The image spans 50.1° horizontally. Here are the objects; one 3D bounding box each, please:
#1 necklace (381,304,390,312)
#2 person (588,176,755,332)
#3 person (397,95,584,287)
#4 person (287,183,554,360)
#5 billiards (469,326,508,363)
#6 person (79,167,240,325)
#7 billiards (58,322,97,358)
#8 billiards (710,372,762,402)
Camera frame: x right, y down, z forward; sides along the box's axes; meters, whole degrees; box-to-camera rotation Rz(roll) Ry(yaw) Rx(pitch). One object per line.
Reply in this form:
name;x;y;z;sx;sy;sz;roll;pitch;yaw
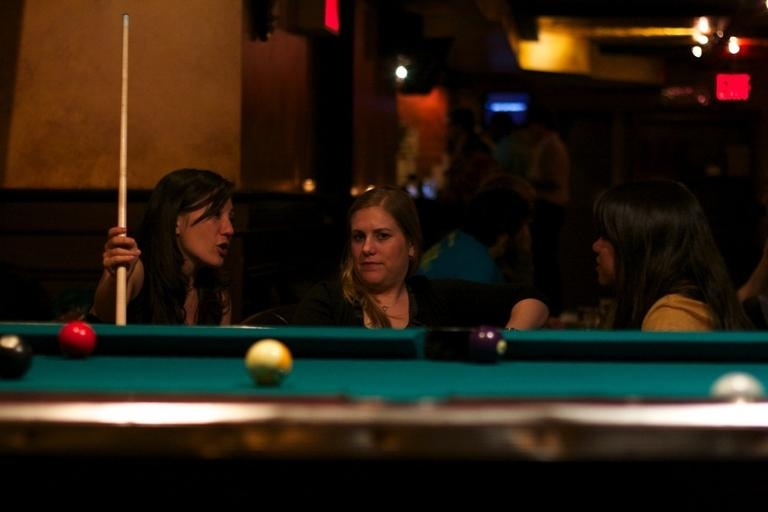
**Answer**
necklace;0.003;0.245;3.871;0.036;0.033;0.011;0;2;-6
person;1.255;0.052;3.512;0.624;0.709;0.753;-3;0;25
person;0.808;-0.320;5.569;1.012;1.435;0.853;2;9;2
person;0.073;0.093;4.047;1.341;0.777;0.725;-1;0;25
billiards;0.334;0.300;2.709;0.122;0.114;0.111;-3;43;-2
person;-1.015;0.016;3.940;0.586;0.858;0.703;8;11;2
billiards;-1.022;0.290;2.813;0.121;0.127;0.117;-5;-17;23
billiards;1.000;0.374;2.303;0.094;0.046;0.089;-5;10;10
